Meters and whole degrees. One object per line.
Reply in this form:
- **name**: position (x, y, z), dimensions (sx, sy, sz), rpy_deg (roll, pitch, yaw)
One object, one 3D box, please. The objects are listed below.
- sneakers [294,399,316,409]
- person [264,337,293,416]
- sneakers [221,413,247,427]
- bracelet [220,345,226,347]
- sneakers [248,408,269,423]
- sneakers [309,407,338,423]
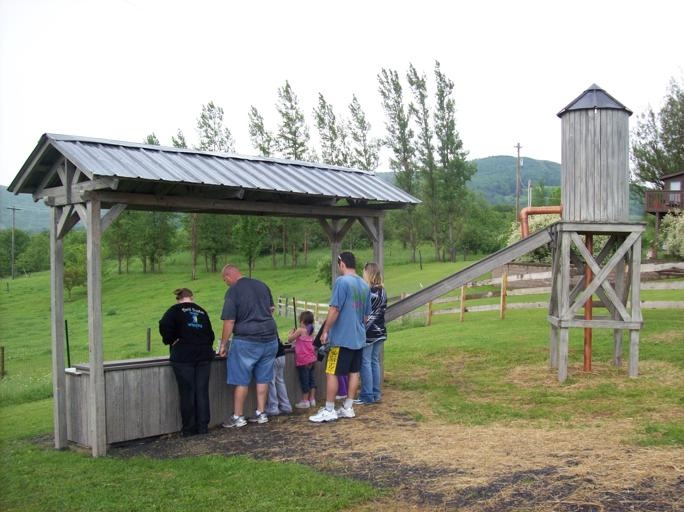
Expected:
- **sneakers**: position (-0.723, 3.026, 19.319), dimensions (0.407, 0.195, 0.157), rpy_deg (1, -5, -2)
- **person**: position (-1.276, 2.458, 18.865), dimensions (0.531, 1.738, 1.065), rpy_deg (2, -17, 7)
- **sneakers**: position (-2.088, 3.226, 18.493), dimensions (0.461, 0.247, 0.201), rpy_deg (0, -5, 3)
- **bracelet**: position (-2.316, 1.758, 18.479), dimensions (0.061, 0.063, 0.062), rpy_deg (6, -6, -36)
- **sneakers**: position (-1.622, 3.161, 18.619), dimensions (0.182, 0.229, 0.440), rpy_deg (0, -3, -44)
- **sneakers**: position (-0.371, 3.115, 18.473), dimensions (0.589, 0.312, 0.236), rpy_deg (1, -9, -5)
